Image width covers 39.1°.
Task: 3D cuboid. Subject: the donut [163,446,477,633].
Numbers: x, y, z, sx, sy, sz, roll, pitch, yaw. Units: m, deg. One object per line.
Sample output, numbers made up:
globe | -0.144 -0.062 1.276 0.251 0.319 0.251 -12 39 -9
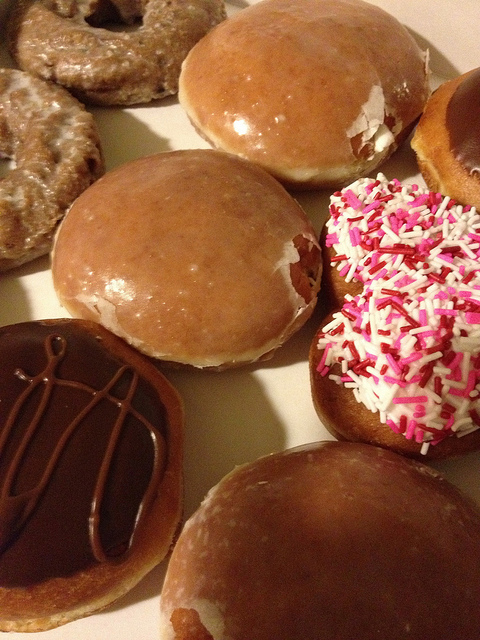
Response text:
donut | 0.113 0.312 0.965 0.419 0.129 0.305 9 53 10

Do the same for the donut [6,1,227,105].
donut | -0.259 -0.641 1.598 0.398 0.106 0.351 -22 56 -21
